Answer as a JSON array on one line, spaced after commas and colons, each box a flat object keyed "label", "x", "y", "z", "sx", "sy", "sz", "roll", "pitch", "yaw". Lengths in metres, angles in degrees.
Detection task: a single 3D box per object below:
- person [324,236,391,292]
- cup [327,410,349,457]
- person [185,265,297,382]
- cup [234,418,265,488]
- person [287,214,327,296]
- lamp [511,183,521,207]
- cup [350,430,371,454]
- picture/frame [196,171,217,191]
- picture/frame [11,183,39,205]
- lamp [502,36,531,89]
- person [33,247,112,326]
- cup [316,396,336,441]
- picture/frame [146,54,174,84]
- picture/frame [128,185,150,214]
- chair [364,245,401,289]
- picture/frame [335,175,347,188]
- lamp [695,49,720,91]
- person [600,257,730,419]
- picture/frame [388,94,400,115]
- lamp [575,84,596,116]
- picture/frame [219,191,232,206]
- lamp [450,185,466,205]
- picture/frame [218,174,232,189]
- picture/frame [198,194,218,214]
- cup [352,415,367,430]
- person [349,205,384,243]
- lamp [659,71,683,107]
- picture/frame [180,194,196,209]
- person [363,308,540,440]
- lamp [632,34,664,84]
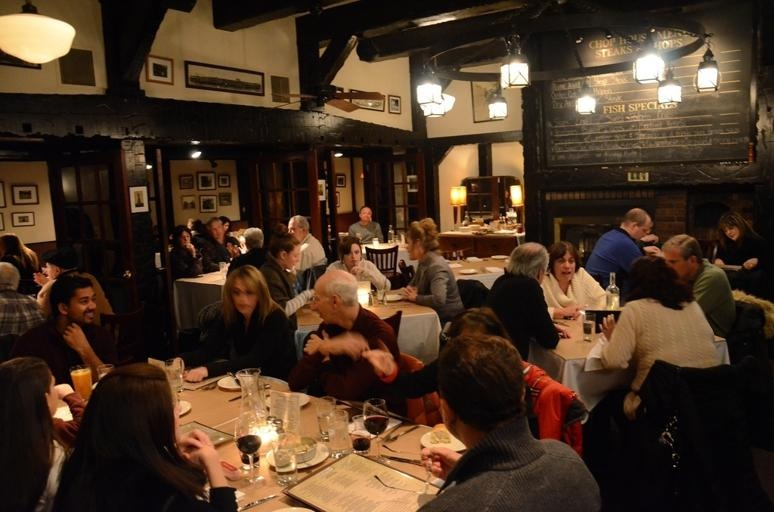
[{"label": "person", "x": -0.338, "y": 0.091, "z": 6.642, "sx": 0.562, "sy": 0.889, "sz": 0.467, "roll": -11, "pitch": 11, "yaw": -16}, {"label": "cup", "x": -0.274, "y": 1.069, "z": 3.405, "sx": 0.148, "sy": 0.235, "sz": 0.147, "roll": -3, "pitch": -15, "yaw": -1}, {"label": "person", "x": -1.182, "y": 0.536, "z": 4.586, "sx": 0.669, "sy": 0.810, "sz": 1.014, "roll": 2, "pitch": 0, "yaw": 26}, {"label": "cup", "x": -0.767, "y": 1.078, "z": 3.241, "sx": 0.163, "sy": 0.345, "sz": 0.159, "roll": -5, "pitch": -8, "yaw": -1}, {"label": "person", "x": -1.115, "y": 0.065, "z": 7.782, "sx": 0.569, "sy": 1.417, "sz": 0.624, "roll": 9, "pitch": 41, "yaw": 3}, {"label": "lamp", "x": 2.658, "y": -1.218, "z": 11.805, "sx": 0.213, "sy": 0.468, "sz": 0.365, "roll": -2, "pitch": 6, "yaw": 13}, {"label": "cup", "x": -0.159, "y": 1.081, "z": 3.355, "sx": 0.099, "sy": 0.081, "sz": 0.105, "roll": 0, "pitch": -8, "yaw": 0}, {"label": "picture/frame", "x": -3.686, "y": -1.527, "z": 11.648, "sx": 0.033, "sy": 0.341, "sz": 0.406, "roll": -2, "pitch": 8, "yaw": 28}, {"label": "picture/frame", "x": -6.228, "y": -1.058, "z": 9.854, "sx": 0.038, "sy": 0.334, "sz": 0.394, "roll": -3, "pitch": 1, "yaw": 35}, {"label": "lamp", "x": 1.084, "y": -1.687, "z": 4.890, "sx": 0.239, "sy": 0.481, "sz": 0.665, "roll": -2, "pitch": 6, "yaw": 14}, {"label": "person", "x": -3.333, "y": 0.412, "z": 6.075, "sx": 0.499, "sy": 0.932, "sz": 0.546, "roll": -1, "pitch": 18, "yaw": 17}, {"label": "cup", "x": -0.335, "y": 0.993, "z": 3.473, "sx": 0.130, "sy": 0.208, "sz": 0.158, "roll": 10, "pitch": -17, "yaw": -40}, {"label": "picture/frame", "x": -2.705, "y": -2.206, "z": 6.806, "sx": 0.028, "sy": 0.319, "sz": 0.397, "roll": 5, "pitch": -5, "yaw": 35}, {"label": "picture/frame", "x": -2.871, "y": -0.653, "z": 6.654, "sx": 0.046, "sy": 0.312, "sz": 0.280, "roll": -1, "pitch": 7, "yaw": 19}, {"label": "chair", "x": -0.051, "y": 0.149, "z": 8.611, "sx": 0.540, "sy": 0.881, "sz": 0.590, "roll": 0, "pitch": 25, "yaw": 1}, {"label": "picture/frame", "x": -1.055, "y": -1.746, "z": 13.282, "sx": 0.108, "sy": 0.331, "sz": 0.484, "roll": -2, "pitch": 6, "yaw": 14}, {"label": "lamp", "x": 3.083, "y": -1.811, "z": 5.567, "sx": 0.268, "sy": 0.380, "sz": 0.267, "roll": -9, "pitch": 13, "yaw": -31}, {"label": "person", "x": 2.031, "y": 0.643, "z": 4.365, "sx": 0.832, "sy": 1.206, "sz": 0.796, "roll": 4, "pitch": -7, "yaw": -28}, {"label": "picture/frame", "x": 0.106, "y": -2.802, "z": 10.622, "sx": 0.033, "sy": 0.335, "sz": 0.463, "roll": 0, "pitch": 3, "yaw": 30}, {"label": "lamp", "x": 2.276, "y": -1.807, "z": 6.596, "sx": 0.161, "sy": 0.341, "sz": 0.519, "roll": 0, "pitch": 7, "yaw": 24}, {"label": "picture/frame", "x": -3.406, "y": -1.208, "z": 12.055, "sx": 0.024, "sy": 0.256, "sz": 0.313, "roll": 4, "pitch": 3, "yaw": 33}, {"label": "lamp", "x": 1.484, "y": -1.287, "z": 12.229, "sx": 0.389, "sy": 0.419, "sz": 0.385, "roll": -2, "pitch": 0, "yaw": 0}, {"label": "picture/frame", "x": -3.410, "y": -1.567, "z": 12.045, "sx": 0.026, "sy": 0.265, "sz": 0.322, "roll": 0, "pitch": 5, "yaw": 28}, {"label": "picture/frame", "x": -3.664, "y": -1.062, "z": 11.689, "sx": 0.031, "sy": 0.333, "sz": 0.399, "roll": 0, "pitch": 4, "yaw": 34}, {"label": "cup", "x": -0.181, "y": 1.024, "z": 3.545, "sx": 0.095, "sy": 0.107, "sz": 0.093, "roll": 0, "pitch": 7, "yaw": 0}, {"label": "person", "x": -0.401, "y": -0.521, "z": 10.240, "sx": 0.654, "sy": 0.711, "sz": 0.428, "roll": -3, "pitch": 9, "yaw": -19}, {"label": "lamp", "x": 2.698, "y": -1.618, "z": 5.507, "sx": 0.166, "sy": 0.295, "sz": 0.253, "roll": 1, "pitch": 7, "yaw": 30}, {"label": "picture/frame", "x": -3.961, "y": -1.079, "z": 11.407, "sx": 0.237, "sy": 0.316, "sz": 0.042, "roll": -18, "pitch": 14, "yaw": -38}, {"label": "person", "x": 0.410, "y": 0.737, "z": 4.123, "sx": 1.015, "sy": 1.083, "sz": 0.830, "roll": -1, "pitch": -1, "yaw": 1}, {"label": "lamp", "x": 2.209, "y": -1.707, "z": 4.969, "sx": 0.277, "sy": 0.414, "sz": 0.277, "roll": -3, "pitch": 5, "yaw": -28}]
